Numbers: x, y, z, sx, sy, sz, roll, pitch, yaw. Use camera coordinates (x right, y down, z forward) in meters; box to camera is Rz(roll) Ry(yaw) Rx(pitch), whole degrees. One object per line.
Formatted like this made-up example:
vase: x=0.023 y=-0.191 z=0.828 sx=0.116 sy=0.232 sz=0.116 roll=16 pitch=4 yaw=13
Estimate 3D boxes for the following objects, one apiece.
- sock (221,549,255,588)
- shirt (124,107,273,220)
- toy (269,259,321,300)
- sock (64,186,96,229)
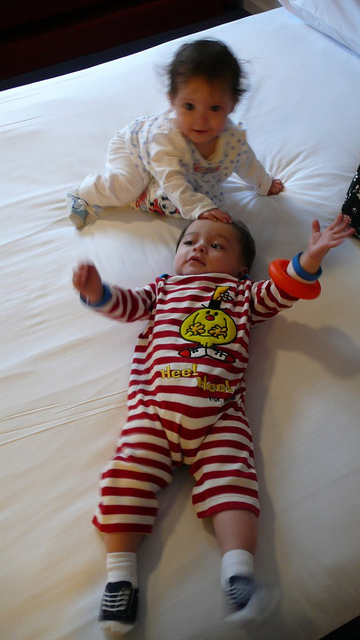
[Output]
sock: x=0.090 y=0.394 z=0.839 sx=0.048 sy=0.035 sz=0.051 roll=4 pitch=39 yaw=-1
shirt: x=0.047 y=-0.364 z=1.408 sx=0.314 sy=0.172 sz=0.372 roll=-20 pitch=47 yaw=-19
toy: x=0.229 y=-0.074 z=1.062 sx=0.083 sy=0.023 sz=0.082 roll=7 pitch=30 yaw=-33
sock: x=-0.272 y=-0.303 z=1.434 sx=0.049 sy=0.058 sz=0.147 roll=-7 pitch=75 yaw=0
